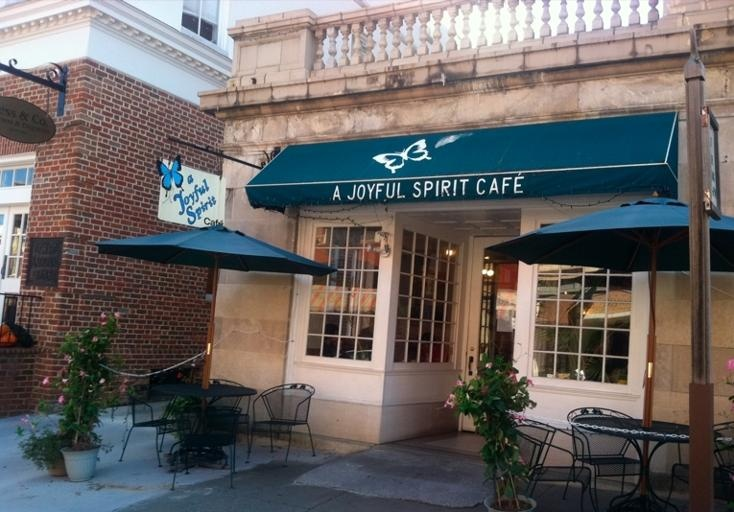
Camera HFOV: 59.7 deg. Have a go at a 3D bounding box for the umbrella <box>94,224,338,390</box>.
[{"bbox_3d":[-2.254,0.703,9.299,2.827,2.302,1.922,0,1,18],"label":"umbrella"}]

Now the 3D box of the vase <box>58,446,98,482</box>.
[{"bbox_3d":[-3.774,2.708,8.378,0.485,0.359,0.489,-4,-6,8],"label":"vase"}]

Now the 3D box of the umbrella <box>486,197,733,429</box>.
[{"bbox_3d":[3.093,0.768,7.939,2.865,2.263,2.828,10,-13,-43],"label":"umbrella"}]
